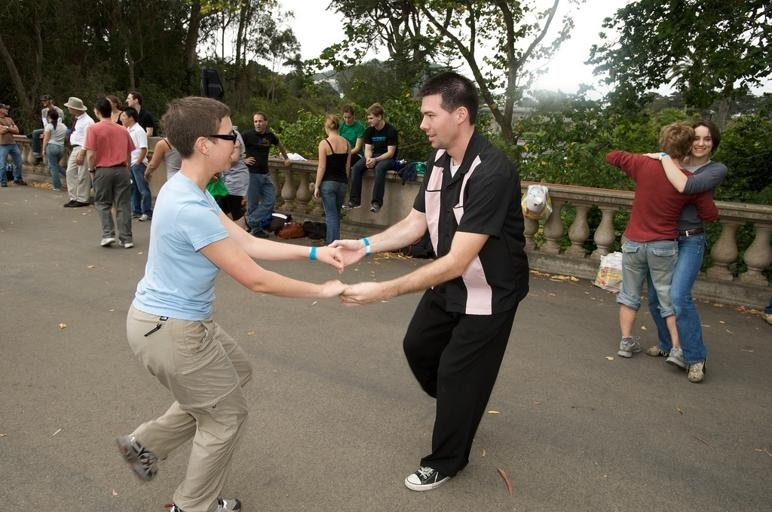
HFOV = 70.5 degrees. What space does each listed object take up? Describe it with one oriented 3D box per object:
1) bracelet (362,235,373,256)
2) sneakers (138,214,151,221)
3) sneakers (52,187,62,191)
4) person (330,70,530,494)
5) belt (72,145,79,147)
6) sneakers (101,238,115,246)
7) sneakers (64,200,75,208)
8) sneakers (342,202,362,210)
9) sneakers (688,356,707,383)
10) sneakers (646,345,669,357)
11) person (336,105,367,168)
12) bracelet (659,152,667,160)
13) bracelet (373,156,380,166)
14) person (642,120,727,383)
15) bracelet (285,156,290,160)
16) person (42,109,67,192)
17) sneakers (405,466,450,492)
[{"bbox_3d":[-0.144,-0.091,4.769,0.041,0.130,0.127,-2,-1,-41],"label":"bracelet"},{"bbox_3d":[-5.226,-0.820,11.882,0.124,0.129,0.308,1,-5,18],"label":"sneakers"},{"bbox_3d":[-9.492,-1.926,15.693,0.302,0.125,0.111,14,12,22],"label":"sneakers"},{"bbox_3d":[0.494,0.214,4.371,1.178,3.267,0.943,7,13,22],"label":"person"},{"bbox_3d":[-7.565,-2.706,13.325,0.093,0.023,0.097,0,0,15],"label":"belt"},{"bbox_3d":[-4.969,-0.236,9.738,0.115,0.127,0.280,0,1,-22],"label":"sneakers"},{"bbox_3d":[-7.705,-1.257,13.265,0.324,0.138,0.154,4,3,41],"label":"sneakers"},{"bbox_3d":[-0.684,-0.998,10.881,0.378,0.161,0.136,2,9,0],"label":"sneakers"},{"bbox_3d":[3.358,1.225,5.851,0.109,0.147,0.322,-22,15,46],"label":"sneakers"},{"bbox_3d":[3.143,1.109,6.334,0.184,0.078,0.104,8,6,35],"label":"sneakers"},{"bbox_3d":[-0.837,-2.418,11.012,0.759,1.121,0.890,7,28,8],"label":"person"},{"bbox_3d":[3.013,-1.087,5.919,0.081,0.029,0.060,-9,31,-16],"label":"bracelet"},{"bbox_3d":[-0.181,-1.837,10.498,0.110,0.105,0.027,36,19,31],"label":"bracelet"},{"bbox_3d":[3.288,-0.080,5.957,0.758,2.755,0.872,5,13,15],"label":"person"},{"bbox_3d":[-2.092,-2.074,11.584,0.060,0.020,0.061,4,56,8],"label":"bracelet"},{"bbox_3d":[-9.503,-3.067,15.738,0.662,2.285,1.465,-5,14,-30],"label":"person"},{"bbox_3d":[0.302,1.777,4.375,0.402,0.151,0.156,5,2,-19],"label":"sneakers"}]
